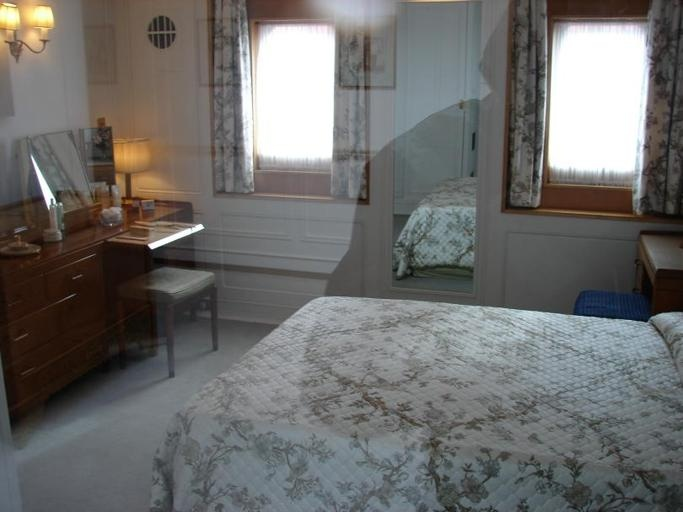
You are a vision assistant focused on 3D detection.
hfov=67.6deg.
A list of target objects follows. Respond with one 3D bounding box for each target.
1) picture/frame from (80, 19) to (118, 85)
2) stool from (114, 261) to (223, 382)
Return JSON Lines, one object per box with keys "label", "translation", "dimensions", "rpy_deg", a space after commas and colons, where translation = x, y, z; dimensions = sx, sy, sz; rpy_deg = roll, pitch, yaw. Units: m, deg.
{"label": "picture/frame", "translation": [-0.761, -0.640, 1.615], "dimensions": [0.089, 0.183, 0.048], "rpy_deg": [-5, 14, -23]}
{"label": "stool", "translation": [-0.560, 0.163, 1.894], "dimensions": [0.336, 0.449, 0.388], "rpy_deg": [5, 11, 21]}
